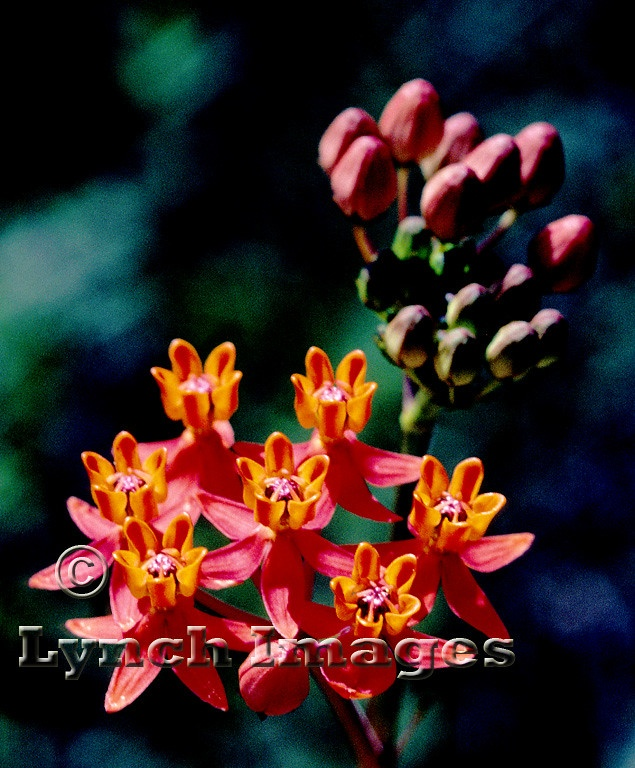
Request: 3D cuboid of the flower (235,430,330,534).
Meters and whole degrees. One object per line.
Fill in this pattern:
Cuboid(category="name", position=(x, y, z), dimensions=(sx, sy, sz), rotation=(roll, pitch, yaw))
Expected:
Cuboid(category="flower", position=(-0.052, 0.151, 1.528), dimensions=(0.111, 0.113, 0.124), rotation=(11, 37, 4))

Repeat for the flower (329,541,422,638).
Cuboid(category="flower", position=(0.072, 0.269, 1.462), dimensions=(0.110, 0.078, 0.109), rotation=(-4, 64, -1))

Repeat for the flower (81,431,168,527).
Cuboid(category="flower", position=(-0.262, 0.135, 1.549), dimensions=(0.115, 0.102, 0.091), rotation=(15, 33, 2))

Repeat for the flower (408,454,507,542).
Cuboid(category="flower", position=(0.187, 0.166, 1.563), dimensions=(0.127, 0.085, 0.110), rotation=(0, 64, 1))

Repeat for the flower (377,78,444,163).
Cuboid(category="flower", position=(0.131, -0.372, 1.629), dimensions=(0.040, 0.107, 0.088), rotation=(-22, 54, -37))

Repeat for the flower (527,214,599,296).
Cuboid(category="flower", position=(0.346, -0.182, 1.604), dimensions=(0.096, 0.078, 0.077), rotation=(-10, 64, -3))

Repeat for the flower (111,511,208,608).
Cuboid(category="flower", position=(-0.200, 0.241, 1.467), dimensions=(0.106, 0.104, 0.109), rotation=(4, 13, 3))

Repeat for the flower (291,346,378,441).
Cuboid(category="flower", position=(0.019, 0.023, 1.643), dimensions=(0.113, 0.101, 0.128), rotation=(11, 33, 9))

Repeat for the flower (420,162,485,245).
Cuboid(category="flower", position=(0.182, -0.248, 1.547), dimensions=(0.080, 0.081, 0.075), rotation=(-17, 64, -7))

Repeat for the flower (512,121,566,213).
Cuboid(category="flower", position=(0.303, -0.305, 1.621), dimensions=(0.055, 0.114, 0.085), rotation=(4, 16, -28))

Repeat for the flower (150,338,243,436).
Cuboid(category="flower", position=(-0.183, 0.000, 1.689), dimensions=(0.125, 0.103, 0.132), rotation=(-26, 37, -25))

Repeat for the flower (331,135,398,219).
Cuboid(category="flower", position=(0.064, -0.287, 1.590), dimensions=(0.089, 0.102, 0.072), rotation=(-9, 63, -3))
